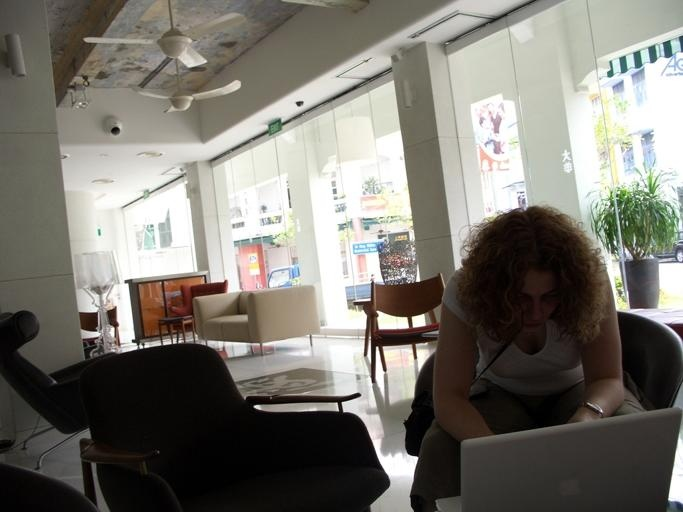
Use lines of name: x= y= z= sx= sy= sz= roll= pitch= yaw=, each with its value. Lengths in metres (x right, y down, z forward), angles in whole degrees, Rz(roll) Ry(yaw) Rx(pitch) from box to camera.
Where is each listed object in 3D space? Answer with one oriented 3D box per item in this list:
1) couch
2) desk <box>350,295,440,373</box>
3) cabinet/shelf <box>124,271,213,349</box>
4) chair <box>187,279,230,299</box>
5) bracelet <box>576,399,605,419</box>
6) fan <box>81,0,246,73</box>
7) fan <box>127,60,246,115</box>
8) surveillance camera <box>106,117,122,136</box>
couch: x=-1.075 y=0.892 z=7.508 sx=1.619 sy=0.895 sz=1.178 roll=-6 pitch=-6 yaw=41
desk: x=0.580 y=0.817 z=5.139 sx=0.977 sy=1.053 sz=0.698 roll=-1 pitch=-8 yaw=-6
cabinet/shelf: x=-3.145 y=0.982 z=9.120 sx=1.835 sy=1.537 sz=0.582 roll=-7 pitch=10 yaw=-34
chair: x=-2.442 y=0.610 z=9.116 sx=0.449 sy=0.472 sz=0.530 roll=0 pitch=-3 yaw=0
bracelet: x=0.750 y=0.462 z=1.504 sx=0.042 sy=0.059 sz=0.064 roll=-34 pitch=-30 yaw=-7
fan: x=-2.431 y=-2.946 z=6.540 sx=1.273 sy=0.628 sz=1.147 roll=-8 pitch=-10 yaw=9
fan: x=-2.567 y=-2.807 z=8.123 sx=1.130 sy=0.632 sz=1.384 roll=-3 pitch=-11 yaw=-1
surveillance camera: x=-3.989 y=-2.327 z=8.824 sx=0.265 sy=0.305 sz=0.301 roll=-7 pitch=4 yaw=-20
